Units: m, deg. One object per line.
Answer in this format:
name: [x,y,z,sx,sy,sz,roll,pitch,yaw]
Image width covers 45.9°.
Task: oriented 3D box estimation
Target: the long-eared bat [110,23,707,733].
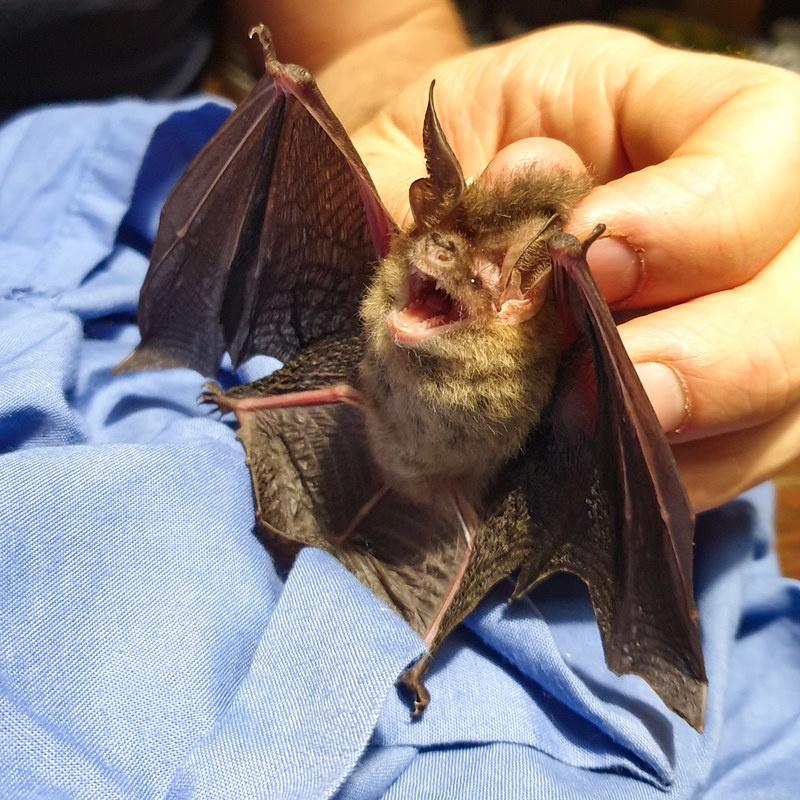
long-eared bat: [-0.231,-0.024,2.107,1.290,1.258,1.601,1,32,11]
